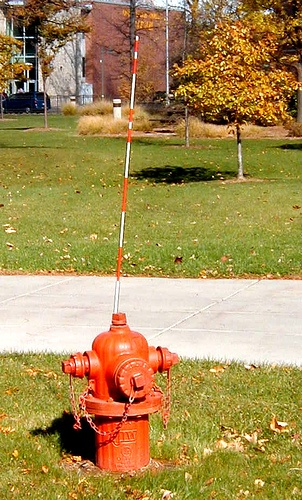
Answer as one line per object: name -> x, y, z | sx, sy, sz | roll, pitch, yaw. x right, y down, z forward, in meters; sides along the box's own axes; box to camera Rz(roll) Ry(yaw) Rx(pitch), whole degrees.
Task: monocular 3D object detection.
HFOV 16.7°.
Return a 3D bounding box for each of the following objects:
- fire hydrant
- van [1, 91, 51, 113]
fire hydrant -> -0.231, 0.945, 7.283 | 0.951, 1.211, 0.941 | -1, 1, -9
van -> -7.797, -9.039, 64.547 | 1.518, 1.304, 3.450 | -7, 9, -41
